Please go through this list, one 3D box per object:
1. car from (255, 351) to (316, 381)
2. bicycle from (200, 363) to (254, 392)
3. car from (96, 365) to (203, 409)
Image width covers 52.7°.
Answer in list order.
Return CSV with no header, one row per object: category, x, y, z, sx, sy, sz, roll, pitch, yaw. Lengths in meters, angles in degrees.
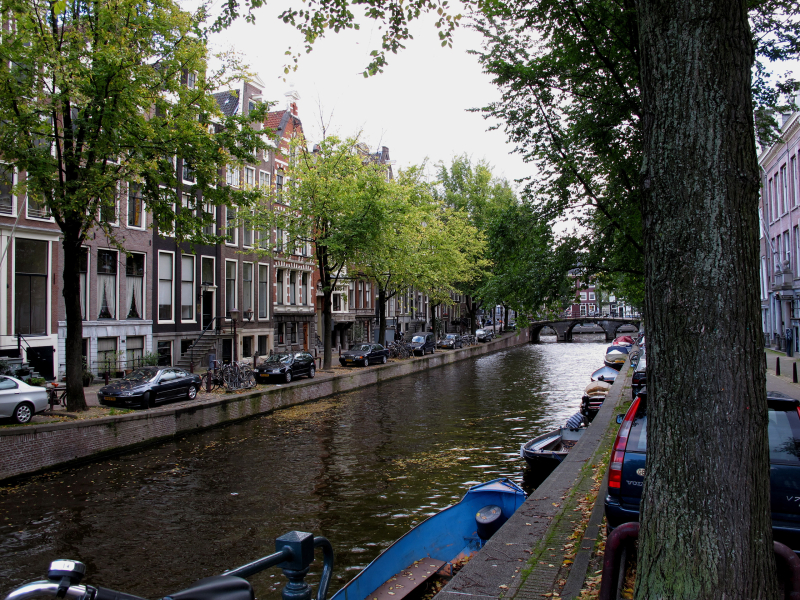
car,-4.822,2.793,33.427,1.309,1.183,3.077,-4,-3,23
bicycle,-6.209,2.865,29.493,1.743,0.986,0.860,0,-1,-18
car,-7.742,2.713,25.078,0.965,1.161,3.484,-4,-3,24
